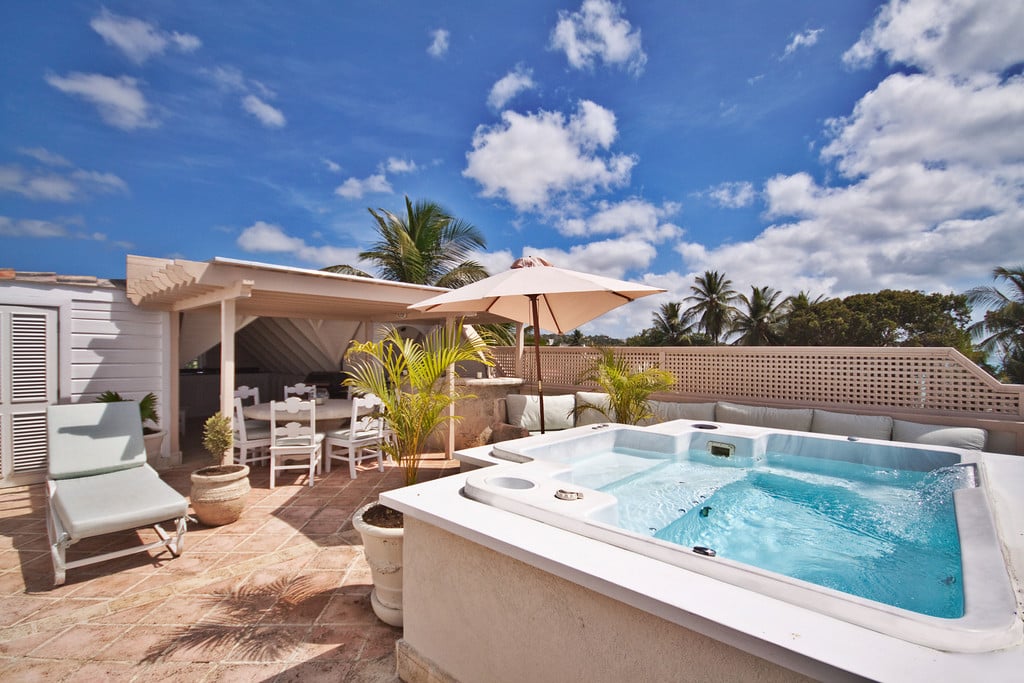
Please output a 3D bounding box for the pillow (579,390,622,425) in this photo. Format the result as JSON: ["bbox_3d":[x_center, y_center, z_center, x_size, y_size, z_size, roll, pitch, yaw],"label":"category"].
[{"bbox_3d":[1.373,1.106,8.347,0.580,0.505,0.592,-4,-7,45],"label":"pillow"}]

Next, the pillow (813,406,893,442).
[{"bbox_3d":[4.617,1.136,6.856,0.528,0.459,0.189,-4,-22,33],"label":"pillow"}]

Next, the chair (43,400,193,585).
[{"bbox_3d":[-4.176,1.457,5.788,2.369,1.420,1.322,9,5,45],"label":"chair"}]

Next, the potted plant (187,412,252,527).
[{"bbox_3d":[-3.580,1.525,6.126,0.593,1.308,0.989,-5,-5,-32],"label":"potted plant"}]

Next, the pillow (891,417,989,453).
[{"bbox_3d":[5.435,1.181,6.424,0.990,0.429,0.518,-8,-5,28],"label":"pillow"}]
